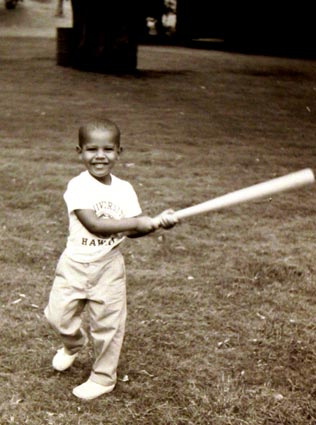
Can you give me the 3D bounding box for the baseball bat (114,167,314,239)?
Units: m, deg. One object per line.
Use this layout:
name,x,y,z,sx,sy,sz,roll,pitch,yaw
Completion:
baseball bat,0.355,-0.050,4.087,1.474,0.177,0.172,-15,13,12

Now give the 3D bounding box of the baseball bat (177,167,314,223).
baseball bat,0.567,-0.104,4.270,1.026,0.139,0.136,-18,50,15

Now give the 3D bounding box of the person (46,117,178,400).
person,-0.236,0.191,2.714,0.493,1.158,0.367,-4,19,-21
